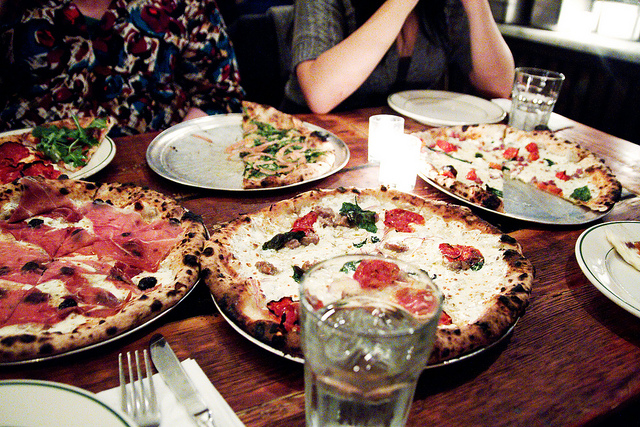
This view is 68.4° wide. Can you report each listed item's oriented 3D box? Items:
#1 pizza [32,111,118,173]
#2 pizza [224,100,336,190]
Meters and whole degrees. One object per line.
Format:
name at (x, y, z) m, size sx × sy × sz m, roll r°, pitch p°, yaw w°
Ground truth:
pizza at (-1.097, -0.368, 2.222) m, size 0.369 × 0.061 × 0.377 m, roll 35°, pitch 48°, yaw 30°
pizza at (-0.228, -0.334, 2.428) m, size 0.744 × 0.085 × 0.546 m, roll 24°, pitch 32°, yaw 31°
